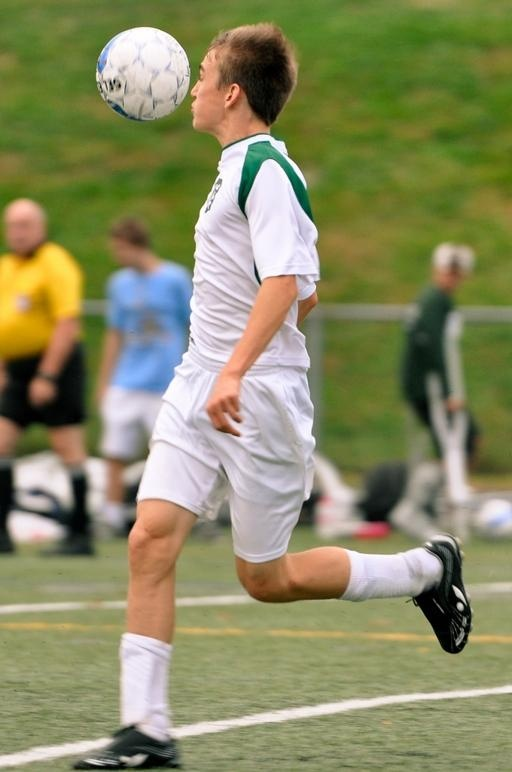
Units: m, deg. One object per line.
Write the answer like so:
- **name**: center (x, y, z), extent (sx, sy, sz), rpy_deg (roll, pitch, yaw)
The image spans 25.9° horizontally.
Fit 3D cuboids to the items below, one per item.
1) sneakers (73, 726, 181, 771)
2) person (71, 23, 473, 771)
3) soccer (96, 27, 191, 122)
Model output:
- **sneakers**: center (-0.246, 0.744, 2.273), extent (0.250, 0.088, 0.076), rpy_deg (4, -19, -10)
- **person**: center (-0.032, 0.034, 2.524), extent (0.562, 1.629, 1.244), rpy_deg (19, 24, 37)
- **soccer**: center (-0.293, -0.809, 2.934), extent (0.275, 0.231, 0.248), rpy_deg (-13, 33, -25)
